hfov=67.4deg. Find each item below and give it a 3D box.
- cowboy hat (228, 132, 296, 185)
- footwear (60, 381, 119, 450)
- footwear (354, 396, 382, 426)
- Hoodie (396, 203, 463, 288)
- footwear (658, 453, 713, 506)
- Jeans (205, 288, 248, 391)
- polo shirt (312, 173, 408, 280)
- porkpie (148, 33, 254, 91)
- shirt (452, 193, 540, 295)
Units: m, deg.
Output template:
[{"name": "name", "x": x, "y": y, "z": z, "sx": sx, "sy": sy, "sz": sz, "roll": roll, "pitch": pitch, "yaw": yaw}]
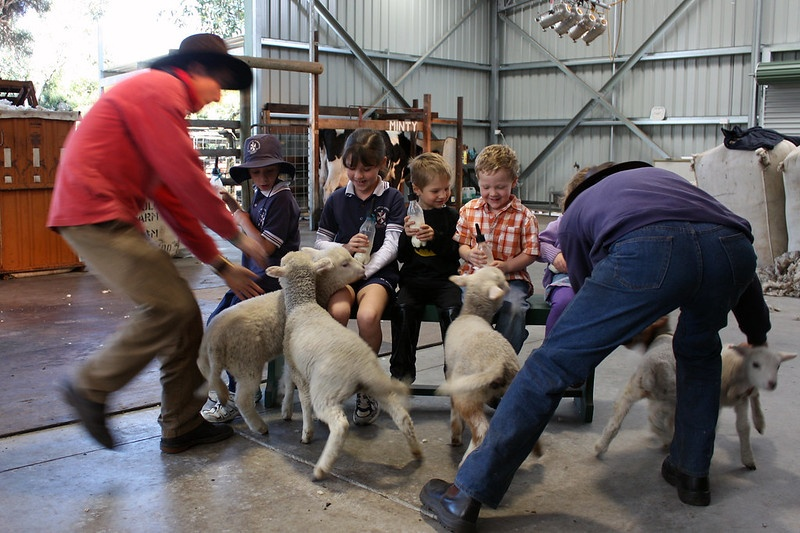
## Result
[{"name": "cowboy hat", "x": -1.000, "y": -0.782, "z": 4.335, "sx": 0.338, "sy": 0.265, "sz": 0.404, "roll": 1, "pitch": 10, "yaw": 2}, {"name": "footwear", "x": -1.754, "y": 0.843, "z": 3.372, "sx": 0.175, "sy": 0.433, "sz": 0.130, "roll": -28, "pitch": 12, "yaw": 10}, {"name": "footwear", "x": -0.218, "y": 0.931, "z": 3.966, "sx": 0.094, "sy": 0.183, "sz": 0.254, "roll": -2, "pitch": -1, "yaw": 5}, {"name": "Hoodie", "x": 0.188, "y": -0.104, "z": 4.336, "sx": 0.476, "sy": 0.726, "sz": 0.499, "roll": 1, "pitch": -9, "yaw": 26}, {"name": "footwear", "x": 1.517, "y": 1.134, "z": 3.233, "sx": 0.101, "sy": 0.140, "sz": 0.294, "roll": -3, "pitch": 15, "yaw": -2}, {"name": "Jeans", "x": -1.035, "y": 0.460, "z": 3.591, "sx": 0.157, "sy": 0.666, "sz": 0.344, "roll": 11, "pitch": -8, "yaw": -17}, {"name": "polo shirt", "x": -0.289, "y": -0.285, "z": 4.352, "sx": 0.570, "sy": 0.688, "sz": 0.574, "roll": 34, "pitch": 43, "yaw": 30}, {"name": "porkpie", "x": -1.106, "y": -1.102, "z": 3.455, "sx": 0.412, "sy": 0.188, "sz": 0.365, "roll": 2, "pitch": 2, "yaw": -24}, {"name": "shirt", "x": 0.667, "y": -0.148, "z": 4.341, "sx": 0.644, "sy": 0.774, "sz": 0.376, "roll": 6, "pitch": -4, "yaw": 12}]
